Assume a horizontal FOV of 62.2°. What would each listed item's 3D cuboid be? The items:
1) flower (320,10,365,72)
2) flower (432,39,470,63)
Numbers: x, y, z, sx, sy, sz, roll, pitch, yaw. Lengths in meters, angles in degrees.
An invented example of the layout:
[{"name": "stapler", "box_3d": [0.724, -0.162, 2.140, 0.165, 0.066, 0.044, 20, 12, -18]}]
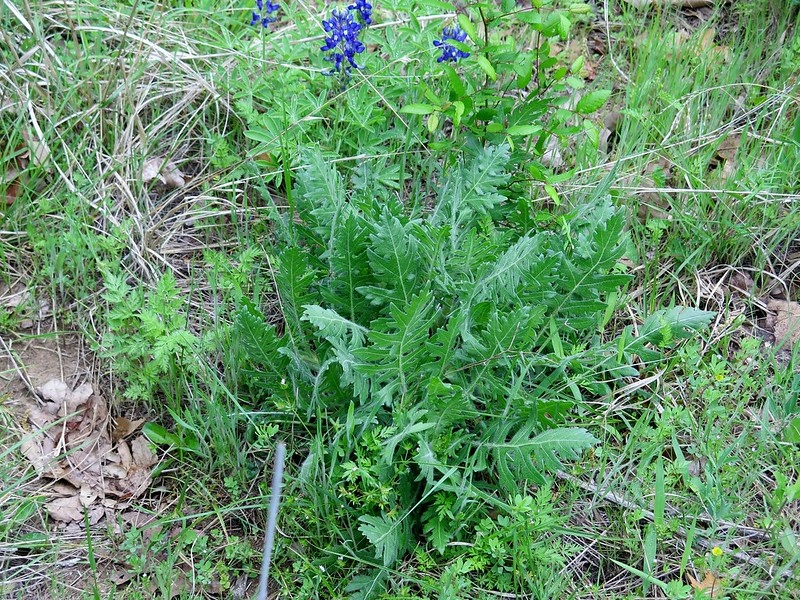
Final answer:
[{"name": "flower", "box_3d": [-0.241, -1.061, 2.751, 0.177, 0.298, 0.236, -5, 51, -2]}, {"name": "flower", "box_3d": [0.207, -1.046, 2.790, 0.125, 0.062, 0.130, 13, 6, -33]}]
